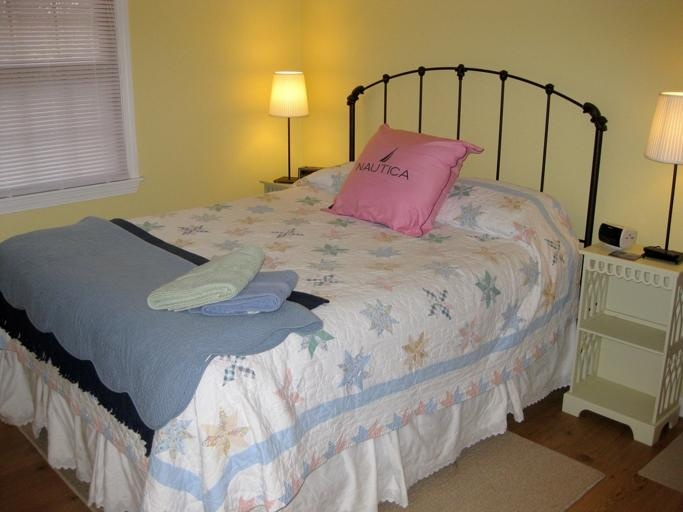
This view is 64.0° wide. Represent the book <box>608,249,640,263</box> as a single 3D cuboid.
[{"bbox_3d":[1.352,-0.010,2.619,0.132,0.013,0.135,17,24,34],"label":"book"}]
